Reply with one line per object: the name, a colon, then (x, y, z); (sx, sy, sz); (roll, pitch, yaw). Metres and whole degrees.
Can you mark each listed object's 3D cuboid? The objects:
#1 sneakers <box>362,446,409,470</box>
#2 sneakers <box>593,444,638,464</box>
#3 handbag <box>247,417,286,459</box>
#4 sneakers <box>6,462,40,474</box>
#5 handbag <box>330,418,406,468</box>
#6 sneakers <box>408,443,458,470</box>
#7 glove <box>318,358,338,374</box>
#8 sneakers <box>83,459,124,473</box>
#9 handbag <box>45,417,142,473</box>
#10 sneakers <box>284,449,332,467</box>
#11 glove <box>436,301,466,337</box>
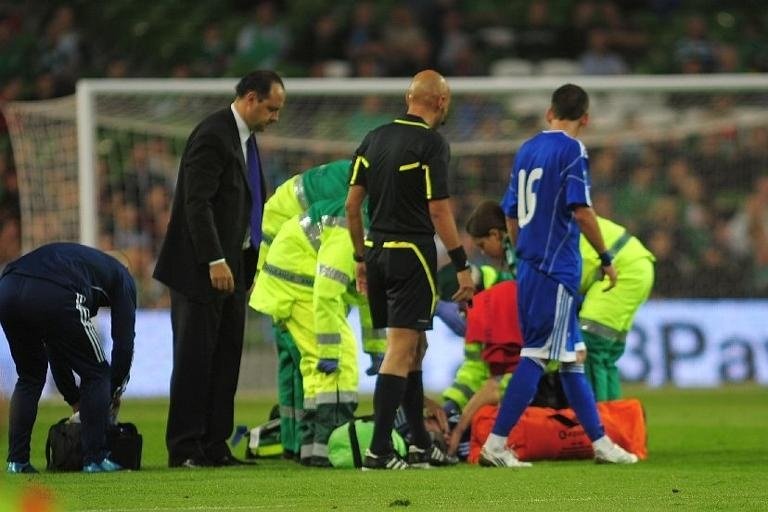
sneakers: (0.033, 2.337, 16.236); (0.522, 0.237, 0.213); (1, -10, -1)
sneakers: (2.669, 2.313, 16.540); (0.532, 0.247, 0.198); (1, -2, -11)
handbag: (-1.367, 2.224, 17.178); (0.467, 0.209, 0.381); (-15, -12, -35)
sneakers: (-4.096, 2.433, 16.288); (0.333, 0.131, 0.209); (3, -10, -16)
handbag: (-0.291, 2.174, 16.419); (0.614, 0.471, 0.640); (5, -17, -22)
sneakers: (0.575, 2.332, 16.508); (0.602, 0.269, 0.165); (6, -11, -28)
glove: (-0.642, 1.293, 16.568); (0.226, 0.162, 0.187); (1, -10, -3)
sneakers: (-3.181, 2.388, 16.313); (0.449, 0.196, 0.157); (-1, -1, -18)
handbag: (-3.338, 2.210, 16.650); (0.734, 0.545, 0.655); (0, -5, -3)
sneakers: (-0.850, 2.378, 16.706); (0.405, 0.114, 0.127); (12, -7, 30)
glove: (0.880, 0.763, 17.708); (0.446, 0.151, 0.318); (47, -35, -6)
